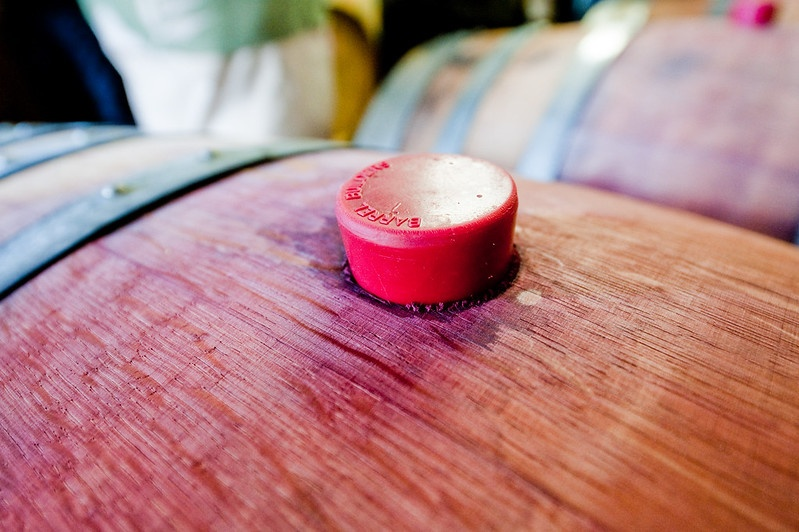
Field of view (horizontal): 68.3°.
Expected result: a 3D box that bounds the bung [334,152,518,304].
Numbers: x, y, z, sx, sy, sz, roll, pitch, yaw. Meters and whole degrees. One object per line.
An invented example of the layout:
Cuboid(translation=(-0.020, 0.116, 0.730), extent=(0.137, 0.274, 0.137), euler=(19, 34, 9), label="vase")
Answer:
Cuboid(translation=(0.055, -0.089, 1.286), extent=(0.358, 0.187, 0.357), euler=(3, 39, 13), label="bung")
